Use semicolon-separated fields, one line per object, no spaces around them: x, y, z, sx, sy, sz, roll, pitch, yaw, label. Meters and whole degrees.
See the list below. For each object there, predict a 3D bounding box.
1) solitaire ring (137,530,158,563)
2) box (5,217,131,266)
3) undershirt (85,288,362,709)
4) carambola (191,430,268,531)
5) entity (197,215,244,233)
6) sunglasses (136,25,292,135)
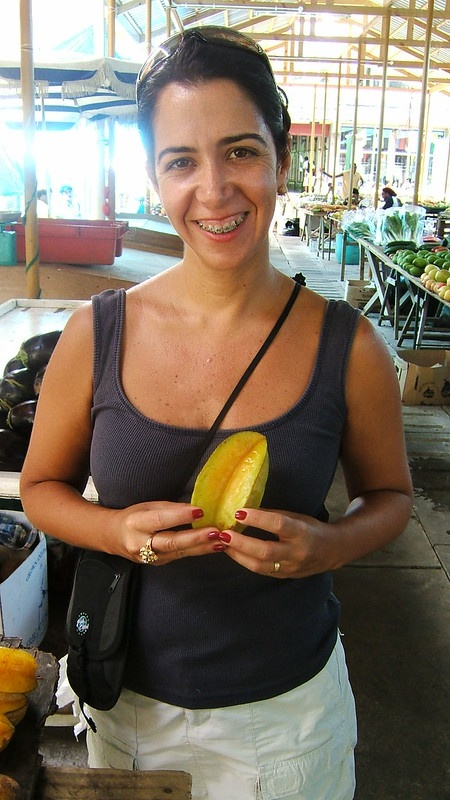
-0.113;0.218;0.828;0.018;0.033;0.041;-18;5;-19;solitaire ring
-2.150;-2.203;7.893;1.524;0.566;0.977;-1;23;-7;box
-0.067;0.235;1.170;0.601;0.843;0.451;2;-12;-24;undershirt
0.011;0.121;0.874;0.106;0.059;0.190;20;39;13;carambola
-0.005;-0.290;0.936;0.075;0.029;0.033;1;16;-1;entity
-0.007;-0.551;0.964;0.282;0.172;0.152;-2;16;-10;sunglasses
